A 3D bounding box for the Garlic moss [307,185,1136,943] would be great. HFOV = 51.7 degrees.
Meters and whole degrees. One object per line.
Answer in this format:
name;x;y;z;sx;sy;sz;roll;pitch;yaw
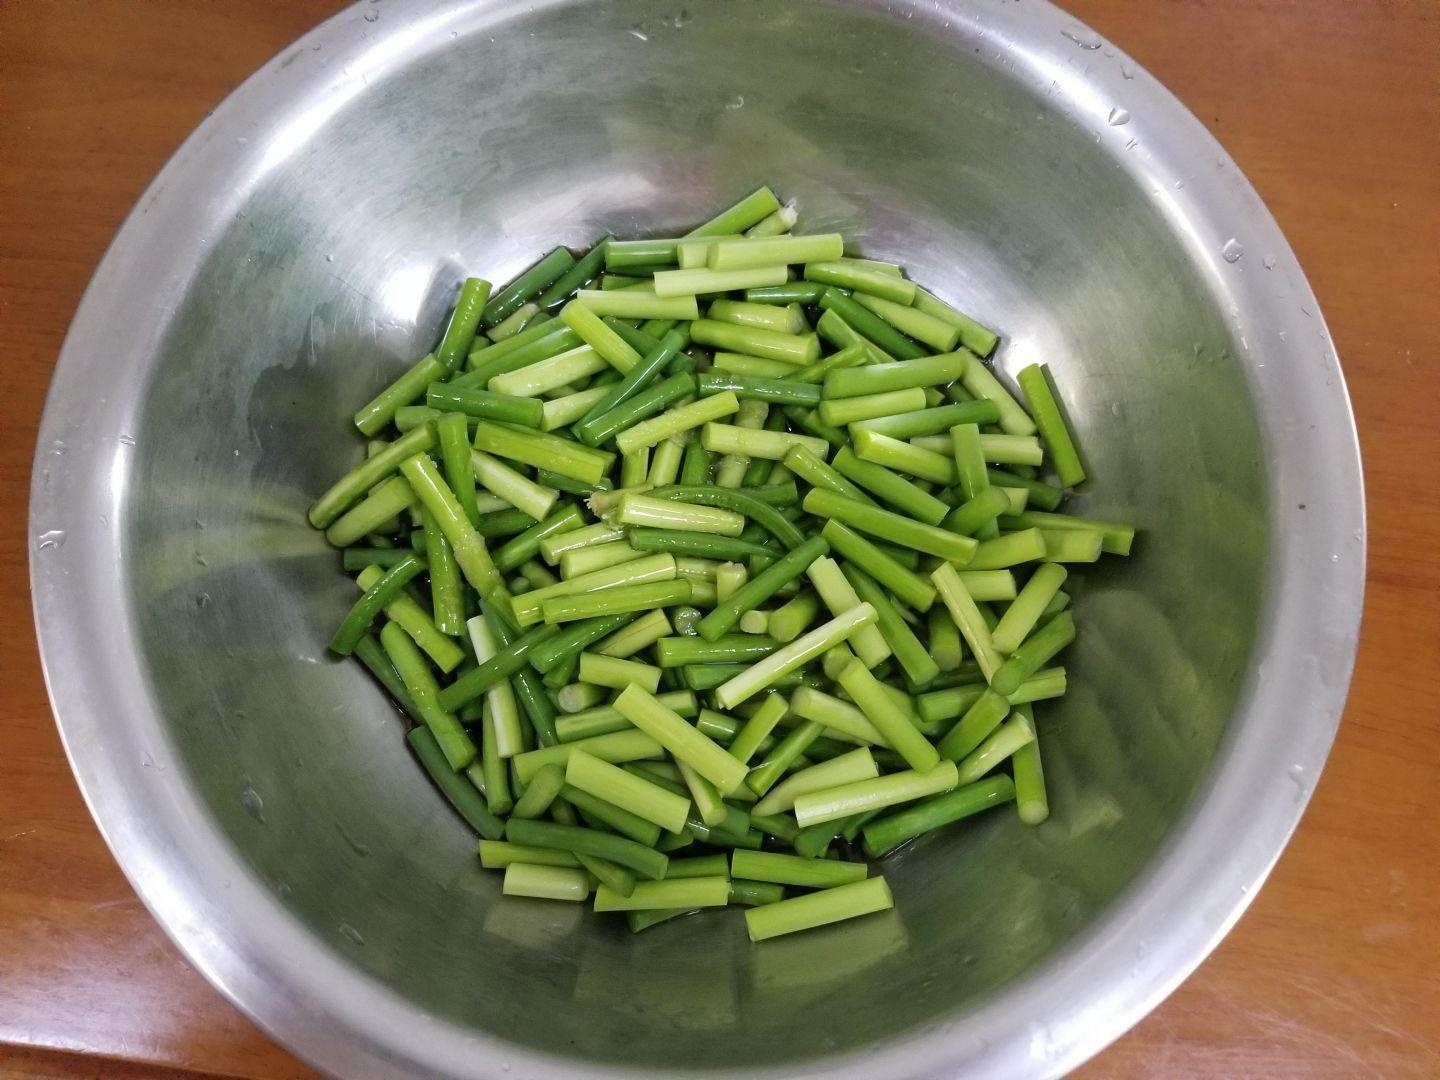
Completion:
Garlic moss;-0.059;0.097;2.763;1.243;0.487;1.319;14;75;2
